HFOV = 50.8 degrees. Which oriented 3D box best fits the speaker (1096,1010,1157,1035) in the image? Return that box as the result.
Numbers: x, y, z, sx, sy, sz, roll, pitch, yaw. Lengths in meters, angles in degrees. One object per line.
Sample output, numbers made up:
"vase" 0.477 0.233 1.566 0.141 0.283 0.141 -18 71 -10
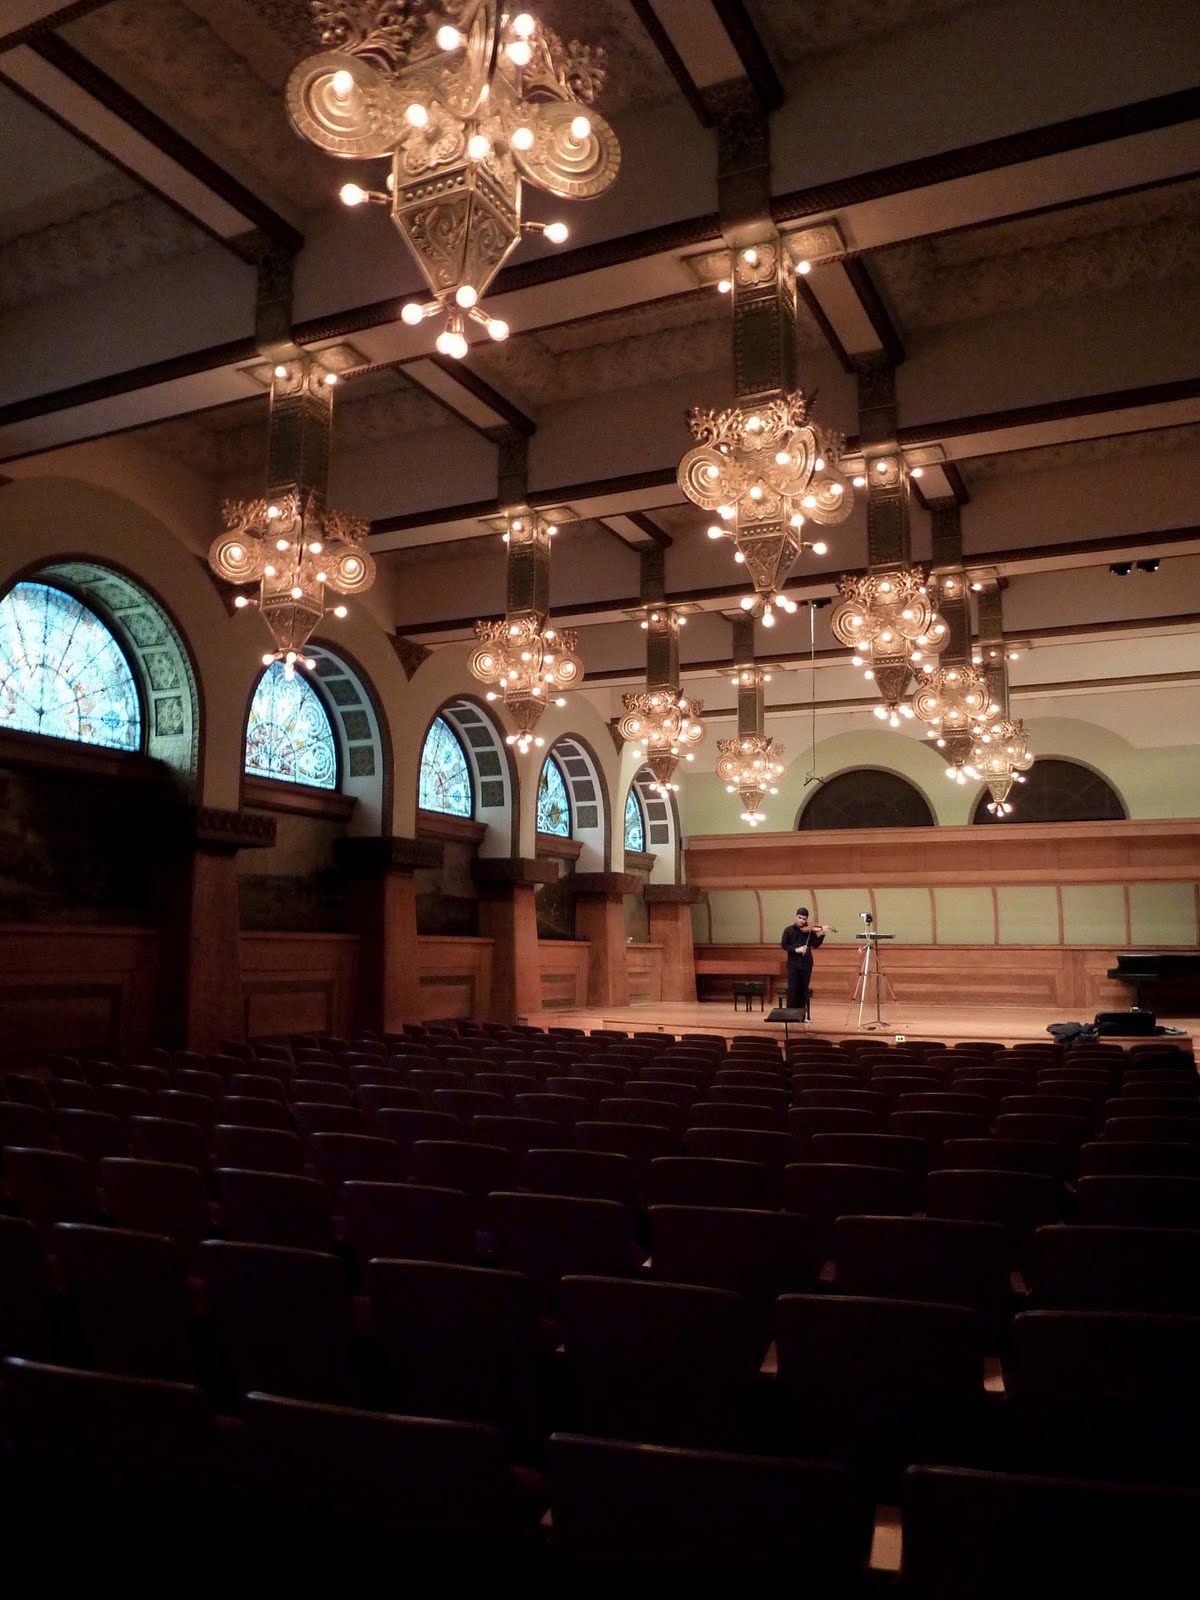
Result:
"speaker" 5.750 2.452 13.833 0.463 0.189 0.609 -1 -6 33
